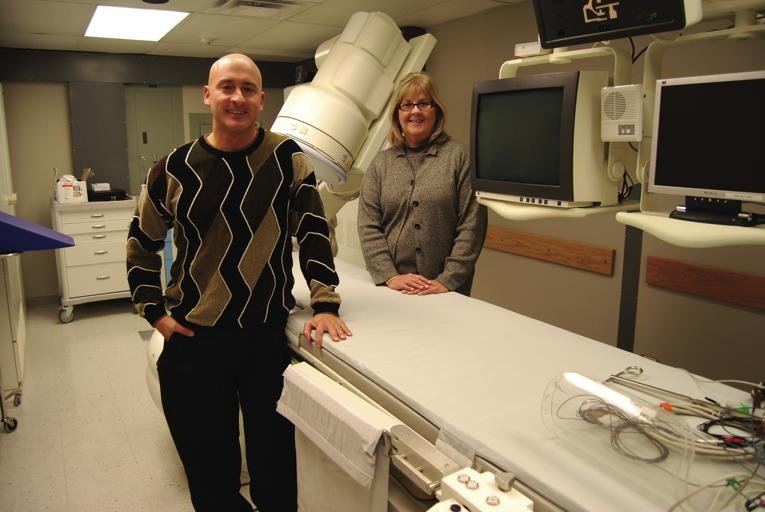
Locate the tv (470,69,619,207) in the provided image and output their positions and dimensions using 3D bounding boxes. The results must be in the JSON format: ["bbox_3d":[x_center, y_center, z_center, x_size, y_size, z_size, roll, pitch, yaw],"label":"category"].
[{"bbox_3d":[0.632,-0.445,1.933,0.288,0.457,0.515,-8,9,-36],"label":"tv"}]

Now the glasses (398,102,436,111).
[{"bbox_3d":[0.162,-0.738,2.487,0.163,0.045,0.040,-2,11,6],"label":"glasses"}]

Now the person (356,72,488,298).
[{"bbox_3d":[0.187,-0.139,2.708,0.615,1.541,0.465,3,35,8],"label":"person"}]

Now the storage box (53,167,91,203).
[{"bbox_3d":[-2.992,-0.674,4.873,0.312,0.320,0.319,-1,5,-37],"label":"storage box"}]

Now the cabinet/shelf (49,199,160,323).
[{"bbox_3d":[-2.908,-0.046,5.059,0.781,1.050,0.814,10,13,36],"label":"cabinet/shelf"}]
